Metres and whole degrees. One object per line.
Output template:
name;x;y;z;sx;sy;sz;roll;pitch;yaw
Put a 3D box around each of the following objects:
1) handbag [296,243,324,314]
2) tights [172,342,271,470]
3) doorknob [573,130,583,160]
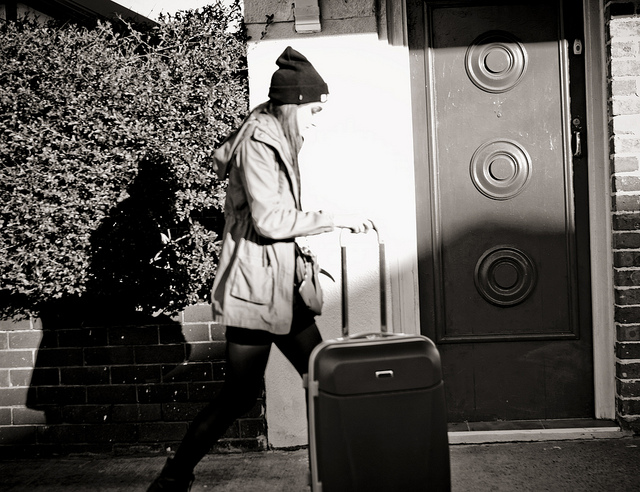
handbag;-0.051;0.172;3.526;0.121;0.346;0.172;4;8;9
tights;-0.539;0.872;3.547;0.524;0.687;0.117;-1;-4;8
doorknob;1.790;-0.707;4.506;0.063;0.198;0.042;-2;-4;13
